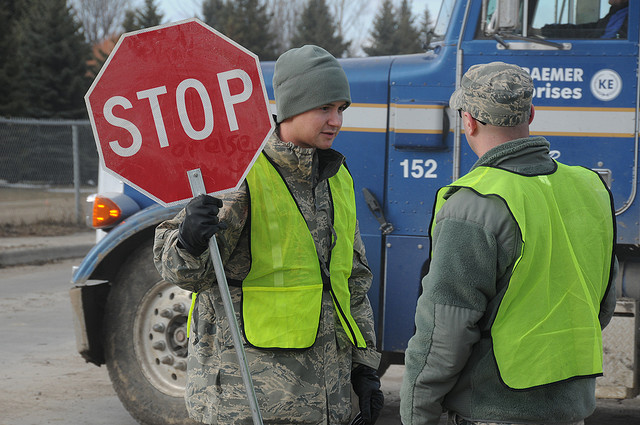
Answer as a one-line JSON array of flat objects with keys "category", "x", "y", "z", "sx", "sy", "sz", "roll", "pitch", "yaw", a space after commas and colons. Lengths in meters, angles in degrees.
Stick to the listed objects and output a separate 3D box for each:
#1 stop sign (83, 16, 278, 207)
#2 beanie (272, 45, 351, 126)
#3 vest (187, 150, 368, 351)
[{"category": "stop sign", "x": -0.951, "y": -0.687, "z": 7.049, "sx": 1.263, "sy": 1.291, "sz": 0.280, "roll": 1, "pitch": 3, "yaw": 0}, {"category": "beanie", "x": -0.071, "y": -0.931, "z": 7.446, "sx": 0.575, "sy": 0.597, "sz": 0.496, "roll": -5, "pitch": -4, "yaw": 30}, {"category": "vest", "x": -0.185, "y": 0.257, "z": 7.258, "sx": 0.945, "sy": 1.389, "sz": 0.358, "roll": 0, "pitch": 3, "yaw": -12}]
